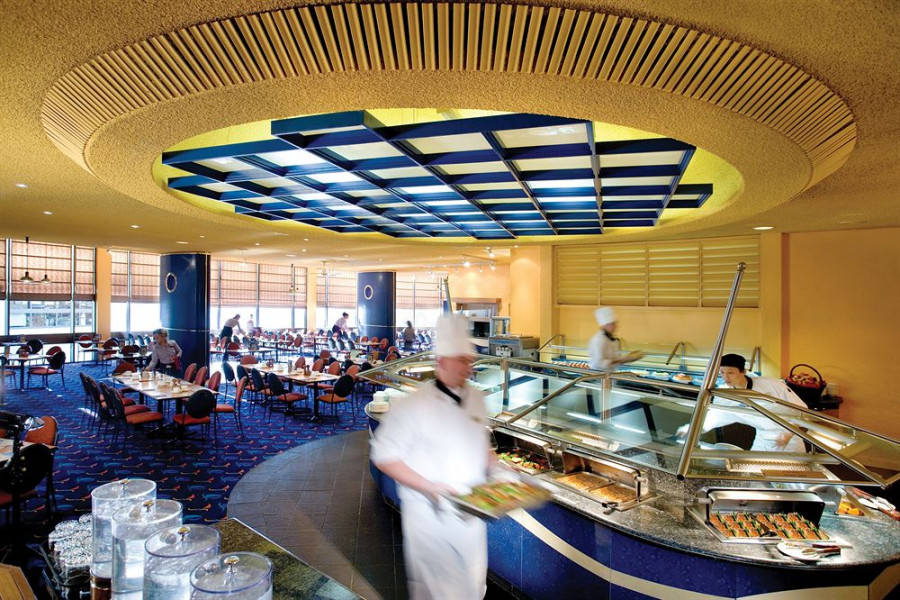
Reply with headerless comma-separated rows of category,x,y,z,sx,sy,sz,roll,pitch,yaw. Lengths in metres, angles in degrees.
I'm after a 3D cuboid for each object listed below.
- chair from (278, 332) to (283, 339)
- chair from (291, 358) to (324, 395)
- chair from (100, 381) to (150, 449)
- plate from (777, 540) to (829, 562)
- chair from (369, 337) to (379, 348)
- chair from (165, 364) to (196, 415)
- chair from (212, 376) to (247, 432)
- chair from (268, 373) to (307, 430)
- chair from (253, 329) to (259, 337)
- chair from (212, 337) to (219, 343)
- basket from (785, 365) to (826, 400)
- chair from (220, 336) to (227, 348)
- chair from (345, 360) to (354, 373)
chair,-5.478,1.139,18.230,0.208,0.177,0.221,-1,-1,1
chair,-2.573,1.384,10.198,0.417,0.194,0.987,-3,5,-31
chair,-4.360,1.582,7.831,0.583,0.686,0.518,-4,10,-28
plate,2.233,1.577,3.563,0.289,0.059,0.121,0,0,1
chair,-2.192,1.229,16.452,0.269,0.251,0.296,2,-15,-6
chair,-4.201,1.390,8.791,0.333,0.197,1.049,-3,7,-33
chair,-3.420,1.561,8.591,0.652,0.635,0.508,0,1,3
chair,-2.611,1.556,9.228,0.526,0.601,0.457,-5,4,-35
chair,-6.130,1.000,17.722,0.212,0.190,0.196,-2,2,5
chair,-7.036,1.197,16.949,0.239,0.218,0.220,2,-8,-16
basket,4.861,1.076,7.620,0.601,0.477,0.511,10,-12,-35
chair,-6.122,1.112,15.239,0.210,0.294,0.127,21,-35,-34
chair,-1.750,1.158,9.876,0.204,0.190,0.216,1,-7,-26
